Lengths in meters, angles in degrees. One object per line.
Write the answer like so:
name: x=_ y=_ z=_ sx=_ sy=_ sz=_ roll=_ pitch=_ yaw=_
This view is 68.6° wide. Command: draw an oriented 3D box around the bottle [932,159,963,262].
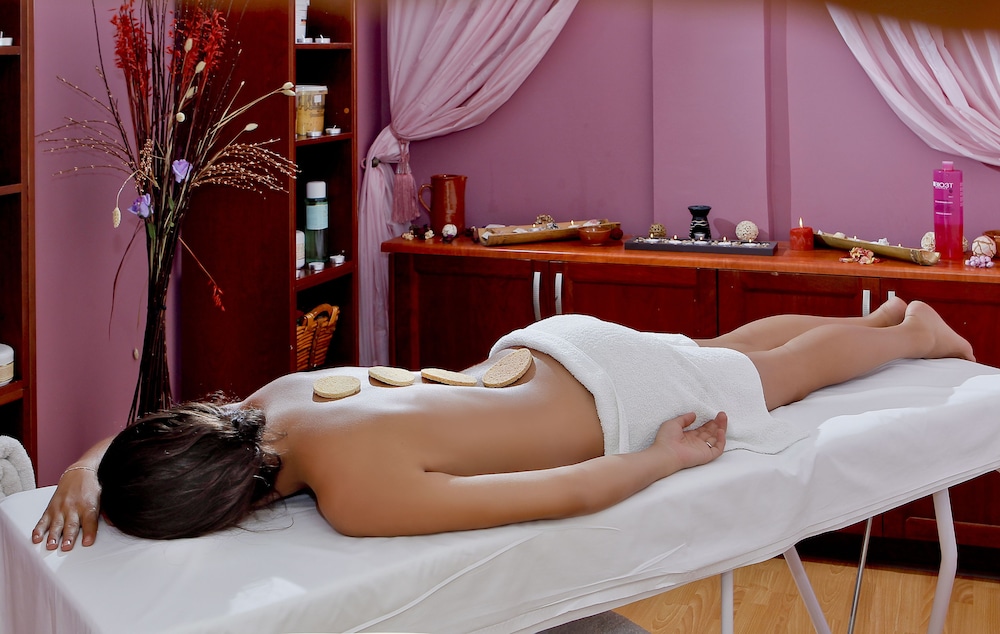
bottle: x=1.715 y=-0.386 z=2.800 sx=0.101 sy=0.372 sz=0.067 roll=3 pitch=5 yaw=31

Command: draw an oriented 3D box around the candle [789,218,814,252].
candle: x=1.269 y=-0.334 z=3.112 sx=0.132 sy=0.162 sz=0.135 roll=1 pitch=12 yaw=25

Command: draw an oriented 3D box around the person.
person: x=0.152 y=0.238 z=1.786 sx=1.998 sy=0.368 sz=0.774 roll=-5 pitch=10 yaw=-25

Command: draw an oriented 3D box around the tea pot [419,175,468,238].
tea pot: x=-0.252 y=-0.526 z=3.497 sx=0.247 sy=0.293 sz=0.246 roll=0 pitch=3 yaw=0

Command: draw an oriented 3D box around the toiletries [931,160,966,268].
toiletries: x=1.728 y=-0.397 z=2.833 sx=0.103 sy=0.359 sz=0.103 roll=-5 pitch=7 yaw=-7

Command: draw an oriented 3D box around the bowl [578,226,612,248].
bowl: x=0.434 y=-0.334 z=3.226 sx=0.100 sy=0.058 sz=0.101 roll=-2 pitch=-1 yaw=0
